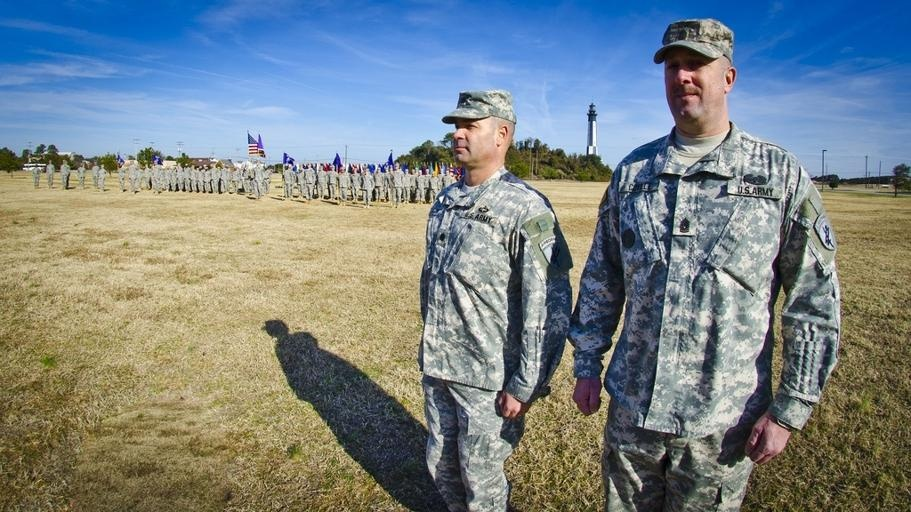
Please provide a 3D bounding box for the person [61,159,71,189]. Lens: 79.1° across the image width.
[{"bbox_3d":[-22.148,-4.521,31.230,0.335,1.425,2.055,-5,11,-37],"label":"person"}]
